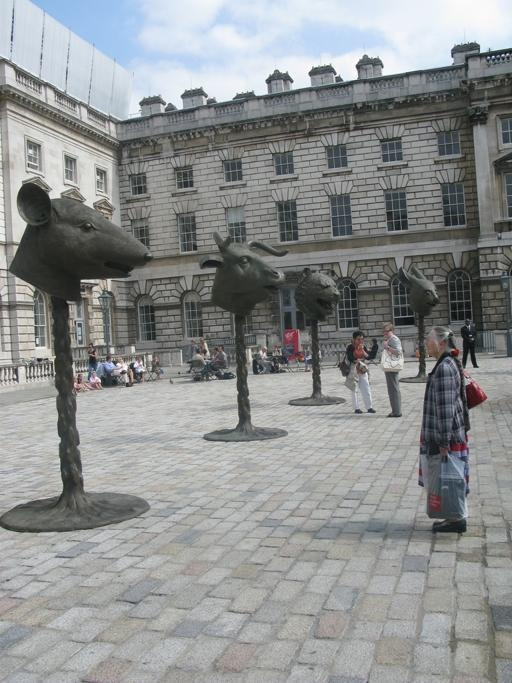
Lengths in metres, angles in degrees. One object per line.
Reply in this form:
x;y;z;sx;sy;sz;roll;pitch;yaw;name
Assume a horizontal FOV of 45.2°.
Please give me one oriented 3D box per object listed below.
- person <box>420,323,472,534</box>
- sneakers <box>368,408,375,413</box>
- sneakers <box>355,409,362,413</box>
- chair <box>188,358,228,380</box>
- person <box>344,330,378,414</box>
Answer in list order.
1.391;0.664;4.608;0.395;1.532;0.510;-3;-1;17;person
2.239;1.341;12.019;0.183;0.119;0.060;-2;9;5;sneakers
1.985;1.355;11.988;0.151;0.098;0.051;-4;3;21;sneakers
-1.983;1.143;25.152;1.369;0.797;0.791;-5;6;-21;chair
2.025;0.596;12.100;0.544;1.529;0.721;-3;-1;10;person
